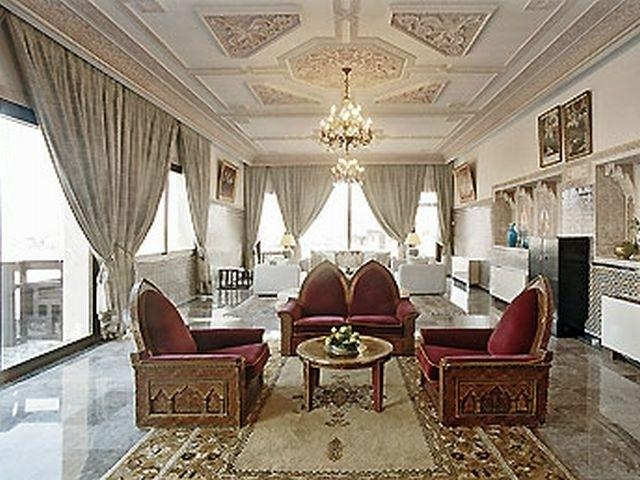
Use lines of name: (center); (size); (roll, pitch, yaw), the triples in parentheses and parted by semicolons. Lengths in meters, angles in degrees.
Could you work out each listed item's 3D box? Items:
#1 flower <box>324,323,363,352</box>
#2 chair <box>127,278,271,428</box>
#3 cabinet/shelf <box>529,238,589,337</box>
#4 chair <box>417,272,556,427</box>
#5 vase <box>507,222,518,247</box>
flower: (0.238, 0.992, 4.514); (0.304, 0.184, 0.250); (1, 3, 0)
chair: (-1.074, 1.034, 4.851); (1.397, 1.444, 1.518); (0, -4, -2)
cabinet/shelf: (3.200, 0.649, 5.861); (0.513, 1.377, 1.454); (0, -4, 6)
chair: (1.739, 0.994, 4.832); (1.391, 1.502, 1.533); (0, -3, 7)
vase: (3.770, -0.093, 8.698); (0.191, 0.439, 0.422); (4, 12, 20)
